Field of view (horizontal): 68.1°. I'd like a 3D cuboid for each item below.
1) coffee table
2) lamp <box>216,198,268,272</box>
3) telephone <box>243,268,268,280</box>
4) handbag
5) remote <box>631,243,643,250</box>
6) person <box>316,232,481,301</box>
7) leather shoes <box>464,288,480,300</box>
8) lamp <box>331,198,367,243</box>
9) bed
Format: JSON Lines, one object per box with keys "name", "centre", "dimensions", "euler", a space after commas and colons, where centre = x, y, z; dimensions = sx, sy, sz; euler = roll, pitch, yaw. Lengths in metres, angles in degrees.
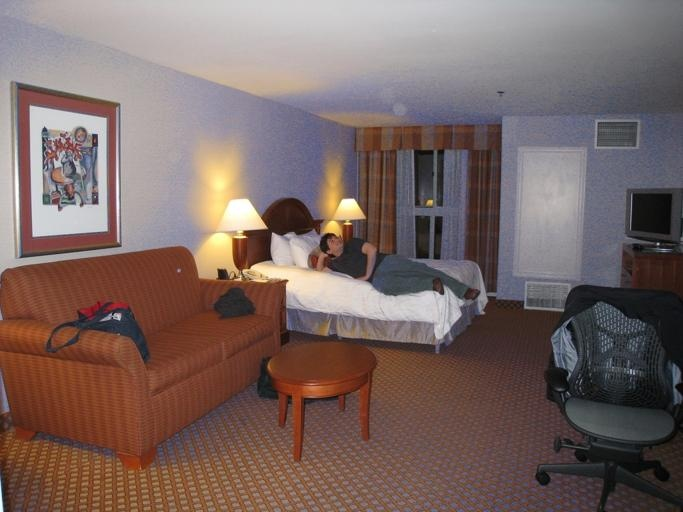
{"name": "coffee table", "centre": [-0.196, 1.002, 3.710], "dimensions": [0.754, 0.528, 0.741], "euler": [3, 11, 21]}
{"name": "lamp", "centre": [-1.146, -0.162, 5.604], "dimensions": [0.582, 0.858, 0.604], "euler": [-1, -2, 9]}
{"name": "telephone", "centre": [-0.957, 0.216, 5.479], "dimensions": [0.202, 0.058, 0.147], "euler": [6, 7, 17]}
{"name": "handbag", "centre": [-1.648, 0.494, 3.456], "dimensions": [0.383, 0.229, 0.526], "euler": [16, 4, 32]}
{"name": "remote", "centre": [3.279, -0.096, 5.621], "dimensions": [0.074, 0.092, 0.143], "euler": [19, 17, 30]}
{"name": "person", "centre": [0.591, 0.173, 5.568], "dimensions": [1.926, 0.572, 0.751], "euler": [13, 21, 25]}
{"name": "leather shoes", "centre": [1.379, 0.418, 5.412], "dimensions": [0.142, 0.167, 0.244], "euler": [2, 10, 14]}
{"name": "lamp", "centre": [0.170, -0.576, 8.031], "dimensions": [0.642, 0.874, 0.635], "euler": [-4, 10, -15]}
{"name": "bed", "centre": [0.244, 0.210, 6.002], "dimensions": [2.430, 1.421, 1.753], "euler": [2, 13, 19]}
